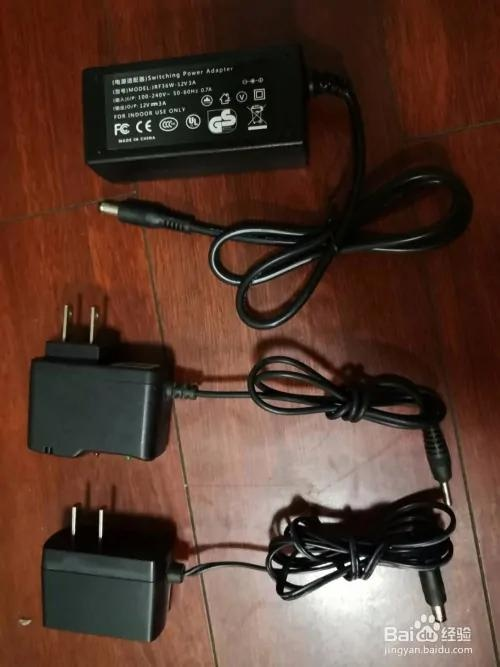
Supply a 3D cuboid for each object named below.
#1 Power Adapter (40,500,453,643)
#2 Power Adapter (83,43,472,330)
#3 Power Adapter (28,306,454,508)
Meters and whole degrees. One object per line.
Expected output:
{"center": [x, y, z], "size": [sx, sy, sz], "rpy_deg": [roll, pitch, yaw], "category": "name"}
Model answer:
{"center": [-0.015, 0.270, 0.898], "size": [0.508, 0.244, 0.081], "rpy_deg": [3, 16, 3], "category": "Power Adapter"}
{"center": [0.029, -0.172, 0.835], "size": [0.469, 0.332, 0.149], "rpy_deg": [-1, -1, 15], "category": "Power Adapter"}
{"center": [-0.014, 0.089, 0.879], "size": [0.487, 0.249, 0.075], "rpy_deg": [5, 8, 2], "category": "Power Adapter"}
